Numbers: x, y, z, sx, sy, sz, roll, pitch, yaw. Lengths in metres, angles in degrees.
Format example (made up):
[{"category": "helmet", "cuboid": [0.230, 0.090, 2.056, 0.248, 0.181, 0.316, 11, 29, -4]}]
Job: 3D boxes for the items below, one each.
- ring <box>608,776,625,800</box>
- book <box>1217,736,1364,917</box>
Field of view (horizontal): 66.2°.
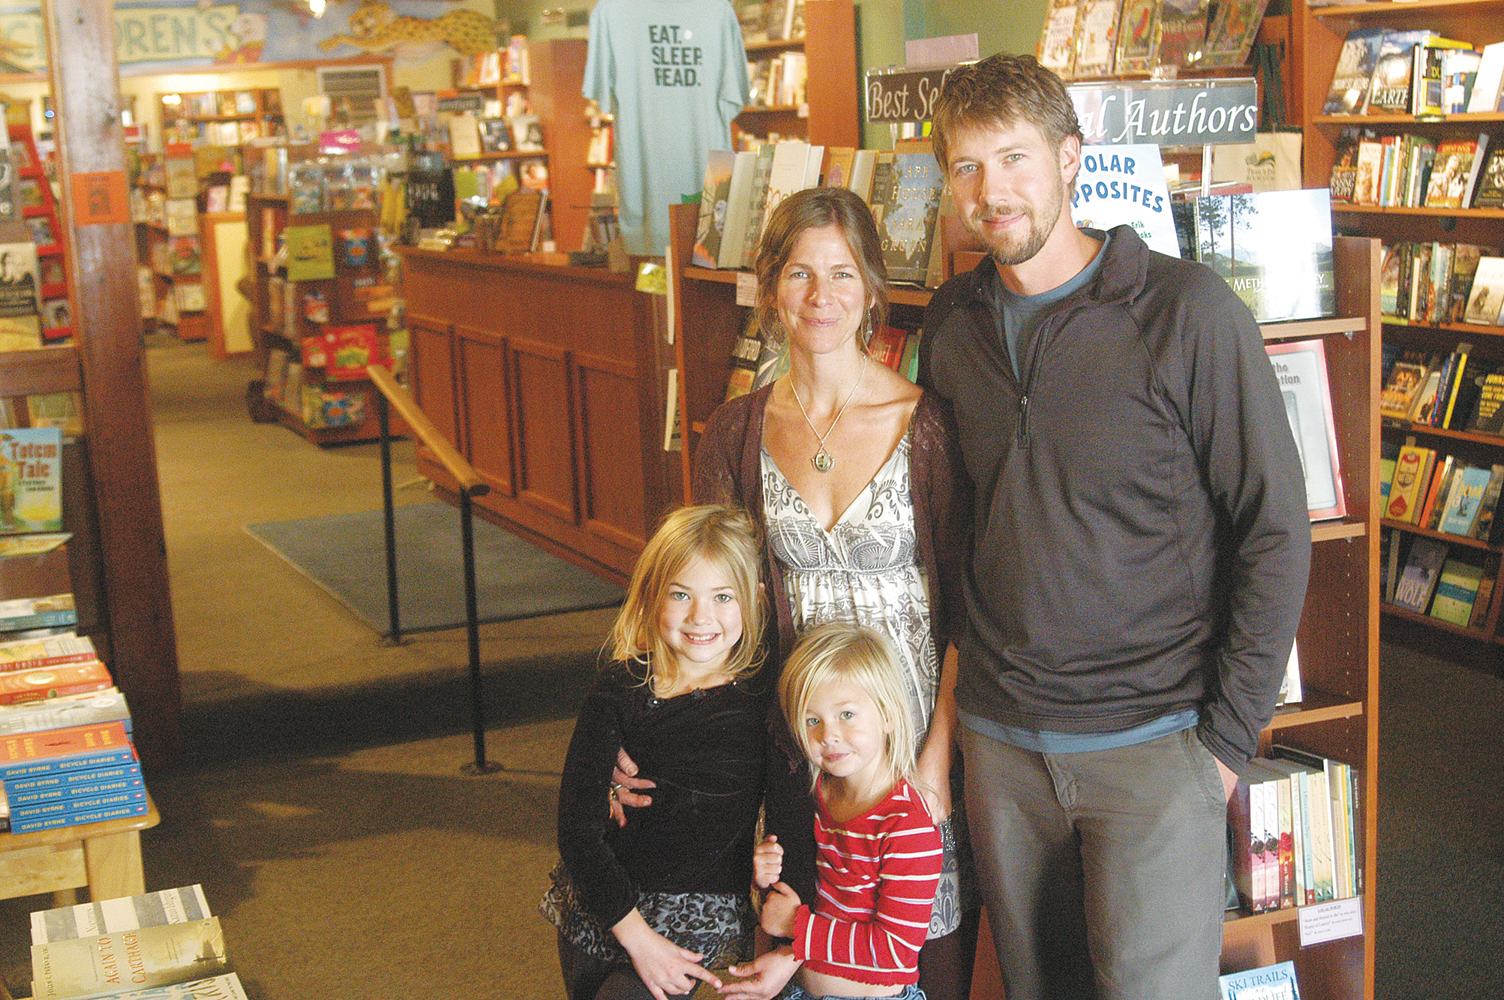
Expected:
[{"category": "ring", "cuboid": [-0.272, 0.593, 2.361, 0.041, 0.038, 0.013, -24, -22, 39]}, {"category": "book", "cuboid": [1.325, 0.783, 2.981, 0.344, 0.427, 0.441, -4, 2, 11]}]
